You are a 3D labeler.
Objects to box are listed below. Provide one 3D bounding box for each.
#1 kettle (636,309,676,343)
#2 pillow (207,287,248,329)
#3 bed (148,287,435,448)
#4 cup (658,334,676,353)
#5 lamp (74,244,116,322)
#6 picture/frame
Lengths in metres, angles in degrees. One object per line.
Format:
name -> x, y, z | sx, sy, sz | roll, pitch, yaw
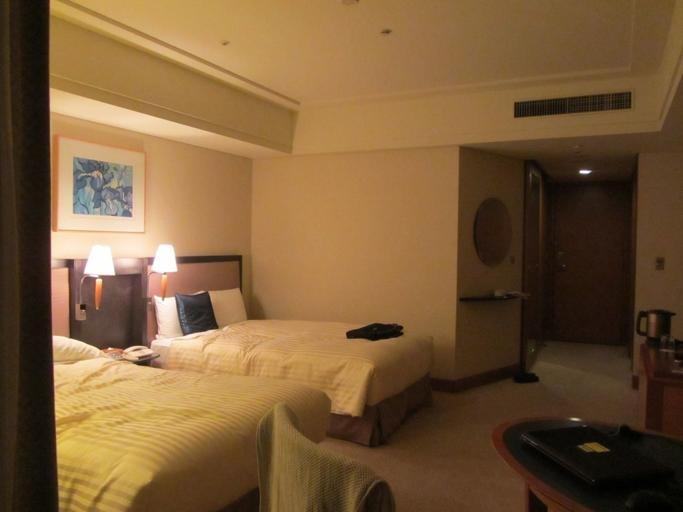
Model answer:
kettle -> 2.733, 0.602, 4.705 | 0.352, 0.321, 0.217 | -3, -6, 41
pillow -> -1.221, 0.552, 5.701 | 0.127, 0.270, 0.361 | -10, -2, 22
bed -> -0.326, 0.884, 4.652 | 1.636, 0.957, 1.400 | -1, 0, 25
cup -> 2.467, 0.677, 4.114 | 0.100, 0.141, 0.134 | 3, -6, -31
lamp -> -1.994, 0.227, 4.418 | 0.272, 0.606, 0.271 | 3, -3, -14
picture/frame -> -2.111, -0.626, 4.667 | 0.038, 0.869, 1.105 | 2, 2, 24
